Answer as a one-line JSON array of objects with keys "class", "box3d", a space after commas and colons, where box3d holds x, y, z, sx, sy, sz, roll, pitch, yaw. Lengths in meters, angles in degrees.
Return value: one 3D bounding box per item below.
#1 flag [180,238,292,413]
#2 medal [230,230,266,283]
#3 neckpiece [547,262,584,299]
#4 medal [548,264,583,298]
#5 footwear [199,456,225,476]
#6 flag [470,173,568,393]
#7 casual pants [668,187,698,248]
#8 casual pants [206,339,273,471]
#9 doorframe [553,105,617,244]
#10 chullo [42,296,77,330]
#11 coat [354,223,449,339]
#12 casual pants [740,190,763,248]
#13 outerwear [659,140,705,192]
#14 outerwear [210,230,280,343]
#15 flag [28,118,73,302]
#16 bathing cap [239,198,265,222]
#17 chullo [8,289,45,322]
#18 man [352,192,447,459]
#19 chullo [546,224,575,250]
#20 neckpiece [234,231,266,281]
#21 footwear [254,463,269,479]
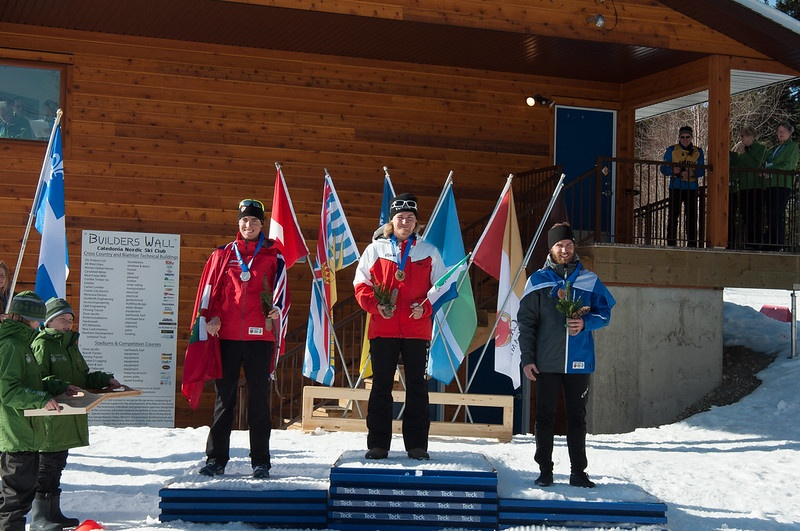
[{"class": "flag", "box3d": [-2.255, 0.693, 14.518, 1.246, 3.190, 0.761, 6, 8, -4]}, {"class": "medal", "box3d": [-2.091, -0.117, 14.487, 0.312, 0.651, 0.145, 1, -12, -4]}, {"class": "neckpiece", "box3d": [2.247, 0.214, 14.310, 0.398, 0.483, 0.094, 0, -7, 8]}, {"class": "medal", "box3d": [2.257, 0.224, 14.304, 0.277, 0.357, 0.141, 36, -25, 29]}, {"class": "footwear", "box3d": [-2.504, 2.705, 14.152, 0.349, 0.190, 0.154, 9, -5, -16]}, {"class": "flag", "box3d": [1.749, 0.248, 17.020, 1.169, 3.968, 0.320, 7, 23, 7]}, {"class": "casual pants", "box3d": [5.353, -0.972, 20.067, 0.522, 1.373, 0.339, 0, 27, 16]}, {"class": "casual pants", "box3d": [-2.136, 1.867, 14.266, 0.879, 1.681, 0.569, 0, 8, -6]}, {"class": "doorframe", "box3d": [3.625, -1.808, 20.676, 1.285, 3.192, 0.173, 2, -22, 4]}, {"class": "chullo", "box3d": [-4.522, 0.594, 13.960, 0.383, 0.376, 0.305, 1, -2, 41]}, {"class": "coat", "box3d": [0.027, 0.313, 15.059, 1.730, 2.076, 1.078, 1, -9, -6]}, {"class": "casual pants", "box3d": [6.705, -0.952, 20.295, 0.333, 1.310, 0.416, -3, 1, -16]}, {"class": "outerwear", "box3d": [5.424, -1.909, 20.171, 0.816, 0.948, 0.515, 6, -8, 2]}, {"class": "outerwear", "box3d": [-2.082, 0.288, 14.914, 1.231, 1.999, 1.151, 0, -8, -4]}, {"class": "flag", "box3d": [-5.214, -0.814, 15.752, 0.453, 2.663, 0.794, -2, 9, -20]}, {"class": "bathing cap", "box3d": [-2.025, -0.838, 14.646, 0.282, 0.445, 0.189, 3, -24, -8]}, {"class": "chullo", "box3d": [-4.751, 0.508, 13.494, 0.364, 0.347, 0.362, -5, -10, 41]}, {"class": "man", "box3d": [0.020, 0.837, 14.612, 1.133, 3.678, 1.114, 5, -11, -22]}, {"class": "chullo", "box3d": [2.240, -0.432, 14.456, 0.306, 0.278, 0.322, -2, 10, 40]}, {"class": "neckpiece", "box3d": [-2.084, -0.118, 14.486, 0.275, 0.644, 0.131, 1, -13, -4]}, {"class": "footwear", "box3d": [-1.817, 2.740, 14.042, 0.108, 0.129, 0.245, 7, -23, -19]}]
